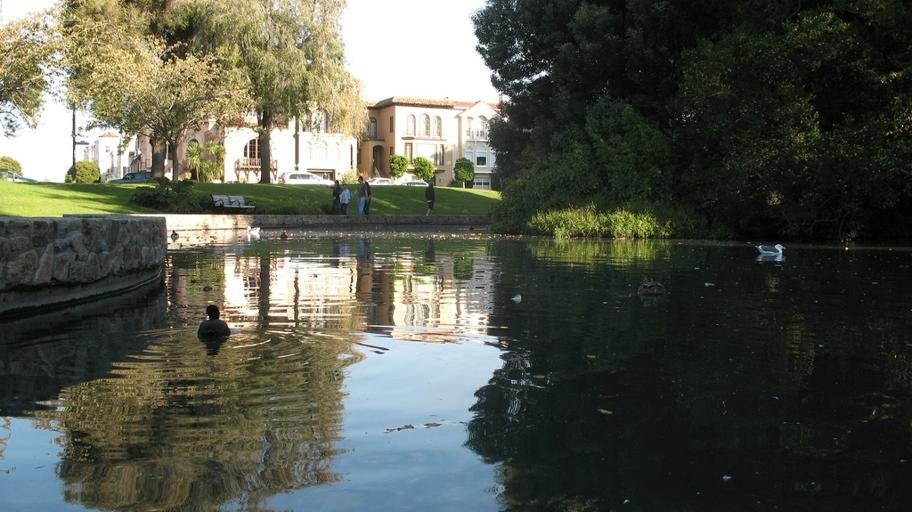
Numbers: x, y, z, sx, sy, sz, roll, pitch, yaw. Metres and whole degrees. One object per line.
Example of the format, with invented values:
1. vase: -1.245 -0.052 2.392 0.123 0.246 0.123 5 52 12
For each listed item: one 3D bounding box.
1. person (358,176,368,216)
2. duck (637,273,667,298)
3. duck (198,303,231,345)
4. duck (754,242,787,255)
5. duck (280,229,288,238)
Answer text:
1. person: -5.545 -3.561 50.944 0.548 1.820 1.031 1 0 -2
2. duck: 4.156 0.601 18.017 0.512 0.342 0.508 4 6 38
3. duck: -4.260 1.212 14.966 0.599 0.636 0.342 3 1 -1
4. duck: 10.090 -0.262 27.403 0.891 0.398 0.350 3 6 4
5. duck: -7.395 -1.009 36.519 0.278 0.482 0.250 8 -18 10
